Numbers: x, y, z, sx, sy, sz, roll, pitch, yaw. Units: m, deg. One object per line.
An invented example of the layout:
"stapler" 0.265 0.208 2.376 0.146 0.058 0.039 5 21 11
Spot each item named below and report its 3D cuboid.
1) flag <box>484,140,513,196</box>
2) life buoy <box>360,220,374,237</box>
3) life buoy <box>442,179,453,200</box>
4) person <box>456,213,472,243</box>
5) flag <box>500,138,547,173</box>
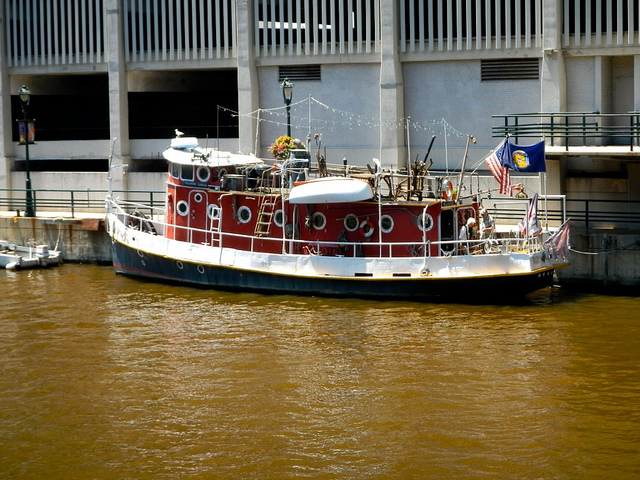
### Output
"flag" 5.758 -2.255 39.560 0.820 1.843 0.190 5 21 27
"life buoy" 1.477 -0.344 39.022 0.440 0.535 0.065 2 6 21
"life buoy" 3.997 -1.570 38.800 0.301 0.622 0.374 1 6 5
"person" 4.481 -0.331 38.555 0.361 0.969 0.519 14 35 31
"flag" 6.528 -2.660 39.705 1.506 1.135 0.093 3 -17 -8
